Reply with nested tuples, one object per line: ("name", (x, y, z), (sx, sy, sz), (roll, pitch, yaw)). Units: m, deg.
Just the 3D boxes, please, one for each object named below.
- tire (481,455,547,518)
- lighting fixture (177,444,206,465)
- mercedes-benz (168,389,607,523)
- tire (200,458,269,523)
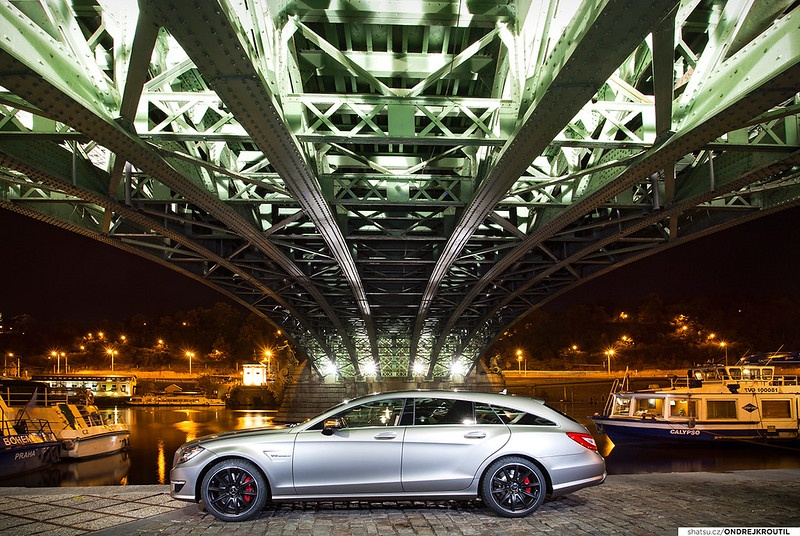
("tire", (1.822, 3.497, 8.974), (0.919, 0.901, 0.345), (-1, -13, -1))
("lighting fixture", (-3.440, 3.037, 9.143), (0.427, 0.299, 0.153), (-12, -32, 12))
("mercedes-benz", (-0.151, 2.932, 9.981), (6.746, 1.938, 2.755), (2, -15, -1))
("tire", (-2.641, 3.576, 9.088), (1.055, 1.045, 0.422), (0, 2, 2))
